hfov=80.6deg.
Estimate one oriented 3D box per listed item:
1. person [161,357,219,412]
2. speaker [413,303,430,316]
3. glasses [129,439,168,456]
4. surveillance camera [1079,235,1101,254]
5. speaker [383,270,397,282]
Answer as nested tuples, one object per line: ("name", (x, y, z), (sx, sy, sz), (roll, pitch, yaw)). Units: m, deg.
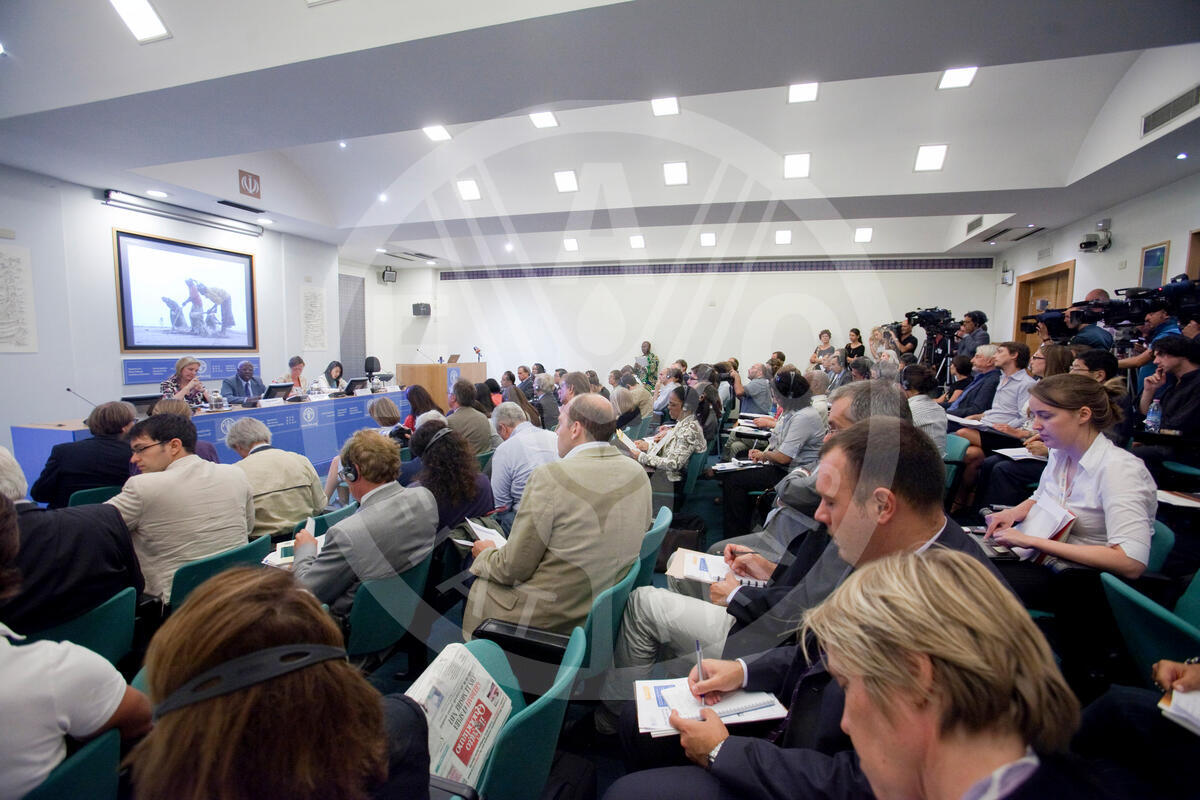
("person", (-4.467, -0.015, 7.491), (0.401, 0.802, 0.376), (-7, 11, -34))
("speaker", (-3.736, -1.844, 14.657), (0.362, 0.256, 0.211), (2, 9, 6))
("glasses", (-2.701, 0.295, 4.224), (0.134, 0.082, 0.132), (-21, -8, 42))
("surveillance camera", (5.793, -1.846, 8.353), (0.179, 0.205, 0.363), (4, 6, 33))
("speaker", (-4.316, -2.484, 14.382), (0.195, 0.289, 0.290), (-3, -1, 30))
